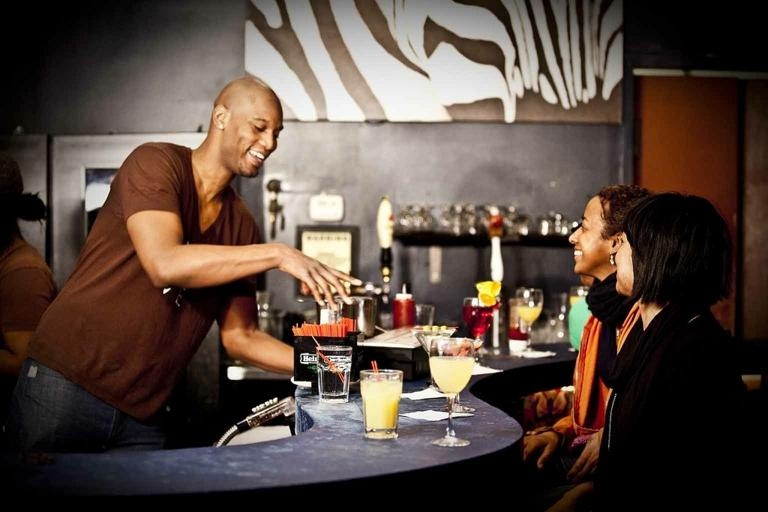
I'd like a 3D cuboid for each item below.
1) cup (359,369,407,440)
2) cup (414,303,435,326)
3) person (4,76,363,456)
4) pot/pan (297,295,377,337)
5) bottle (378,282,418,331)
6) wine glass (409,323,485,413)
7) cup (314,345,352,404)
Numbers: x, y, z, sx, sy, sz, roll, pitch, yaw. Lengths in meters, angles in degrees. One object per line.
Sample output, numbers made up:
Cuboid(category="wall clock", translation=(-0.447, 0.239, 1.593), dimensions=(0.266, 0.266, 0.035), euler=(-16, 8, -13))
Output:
Cuboid(category="cup", translation=(-0.011, 0.540, 2.479), dimensions=(0.145, 0.242, 0.135), euler=(0, 4, 0))
Cuboid(category="cup", translation=(0.256, 0.329, 3.824), dimensions=(0.139, 0.148, 0.133), euler=(0, 0, 0))
Cuboid(category="person", translation=(-0.972, 0.032, 2.978), dimensions=(1.331, 1.659, 0.590), euler=(0, 4, -4))
Cuboid(category="pot/pan", translation=(-0.227, 0.297, 3.350), dimensions=(0.279, 0.183, 0.189), euler=(-4, -4, 21))
Cuboid(category="bottle", translation=(0.117, 0.277, 3.777), dimensions=(0.132, 0.253, 0.250), euler=(0, 4, 3))
Cuboid(category="wine glass", translation=(0.250, 0.455, 2.708), dimensions=(0.311, 0.357, 0.317), euler=(-1, -3, 1))
Cuboid(category="cup", translation=(-0.217, 0.503, 2.888), dimensions=(0.146, 0.235, 0.137), euler=(0, 4, 0))
